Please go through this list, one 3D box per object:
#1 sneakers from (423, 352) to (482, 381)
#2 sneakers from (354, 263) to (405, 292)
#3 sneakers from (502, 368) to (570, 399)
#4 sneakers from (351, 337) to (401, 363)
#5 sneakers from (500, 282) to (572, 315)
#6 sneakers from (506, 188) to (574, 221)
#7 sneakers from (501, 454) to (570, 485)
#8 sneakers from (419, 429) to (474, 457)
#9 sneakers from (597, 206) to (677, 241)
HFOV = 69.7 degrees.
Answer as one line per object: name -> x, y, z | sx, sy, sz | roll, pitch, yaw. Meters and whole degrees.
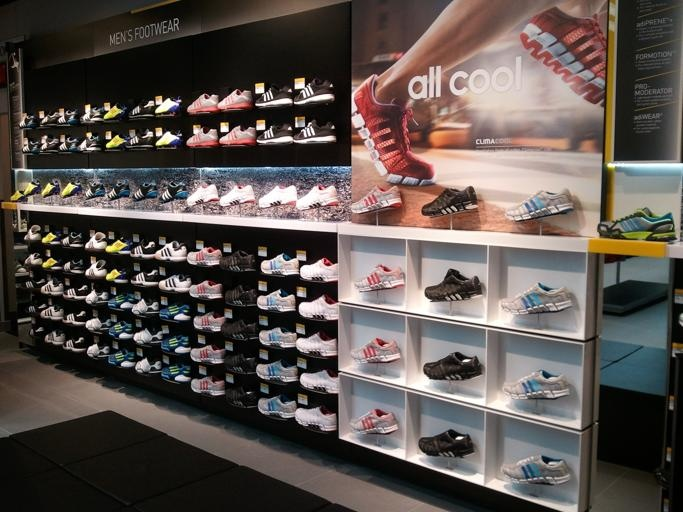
sneakers -> 0.779, 0.794, 3.579 | 0.432, 0.168, 0.166 | -2, 6, 29
sneakers -> 0.301, 0.176, 3.854 | 0.430, 0.178, 0.150 | -3, 9, 29
sneakers -> 1.248, 0.837, 3.222 | 0.429, 0.179, 0.151 | 0, 5, 17
sneakers -> 0.278, 0.748, 3.890 | 0.414, 0.176, 0.155 | 0, 4, 23
sneakers -> 1.253, 0.287, 3.213 | 0.440, 0.186, 0.161 | -2, 7, 19
sneakers -> 1.259, -0.306, 3.115 | 0.400, 0.160, 0.150 | -8, 13, 25
sneakers -> 1.233, 1.372, 3.204 | 0.471, 0.173, 0.166 | 0, 6, 16
sneakers -> 0.747, 1.354, 3.571 | 0.382, 0.146, 0.170 | 0, 11, 24
sneakers -> 1.720, -0.195, 2.951 | 0.486, 0.206, 0.176 | 6, 8, 23
